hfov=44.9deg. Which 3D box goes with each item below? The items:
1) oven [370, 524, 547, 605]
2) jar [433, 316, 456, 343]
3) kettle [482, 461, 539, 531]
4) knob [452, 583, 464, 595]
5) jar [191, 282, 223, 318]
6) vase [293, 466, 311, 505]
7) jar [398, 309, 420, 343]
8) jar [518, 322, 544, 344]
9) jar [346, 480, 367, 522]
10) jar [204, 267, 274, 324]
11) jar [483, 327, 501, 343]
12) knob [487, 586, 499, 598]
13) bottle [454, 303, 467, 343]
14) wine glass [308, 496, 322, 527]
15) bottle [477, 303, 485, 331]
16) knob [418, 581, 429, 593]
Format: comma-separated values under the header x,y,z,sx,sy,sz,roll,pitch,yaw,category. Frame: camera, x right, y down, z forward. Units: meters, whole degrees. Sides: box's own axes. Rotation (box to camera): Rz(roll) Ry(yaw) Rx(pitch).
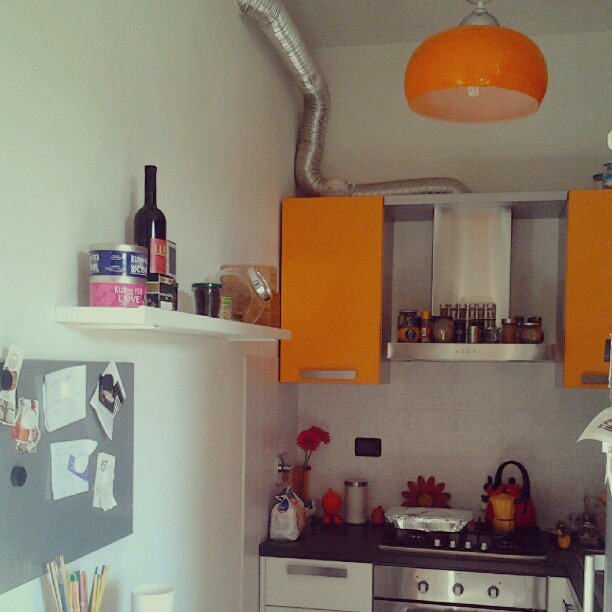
x,y,z,sx,sy,sz,roll,pitch,yaw,category
0.581,1.014,2.862,0.637,0.233,0.314,1,-3,11,oven
0.541,0.101,2.960,0.079,0.118,0.091,0,-16,3,jar
0.860,0.822,3.175,0.202,0.314,0.171,3,-7,27,kettle
0.556,1.040,2.716,0.032,0.039,0.024,-7,-10,9,knob
-0.248,-0.015,1.920,0.075,0.116,0.076,0,-1,0,jar
-0.027,0.820,3.368,0.067,0.168,0.052,1,-3,-3,vase
0.426,0.090,3.114,0.107,0.179,0.116,1,-11,0,jar
0.881,0.113,2.903,0.072,0.083,0.082,-1,-14,12,jar
0.201,0.884,3.281,0.109,0.200,0.108,2,-16,1,jar
-0.196,-0.027,2.134,0.159,0.195,0.156,1,-3,0,jar
0.736,0.118,2.925,0.049,0.058,0.054,1,-7,0,jar
0.679,1.040,2.690,0.029,0.037,0.034,3,-6,-7,knob
0.618,0.073,2.992,0.065,0.154,0.053,2,-3,-12,bottle
0.043,0.928,3.381,0.071,0.102,0.083,1,-1,6,wine glass
0.706,0.047,2.991,0.024,0.099,0.032,0,-3,26,bottle
0.433,1.037,2.749,0.035,0.038,0.034,4,-4,-38,knob
